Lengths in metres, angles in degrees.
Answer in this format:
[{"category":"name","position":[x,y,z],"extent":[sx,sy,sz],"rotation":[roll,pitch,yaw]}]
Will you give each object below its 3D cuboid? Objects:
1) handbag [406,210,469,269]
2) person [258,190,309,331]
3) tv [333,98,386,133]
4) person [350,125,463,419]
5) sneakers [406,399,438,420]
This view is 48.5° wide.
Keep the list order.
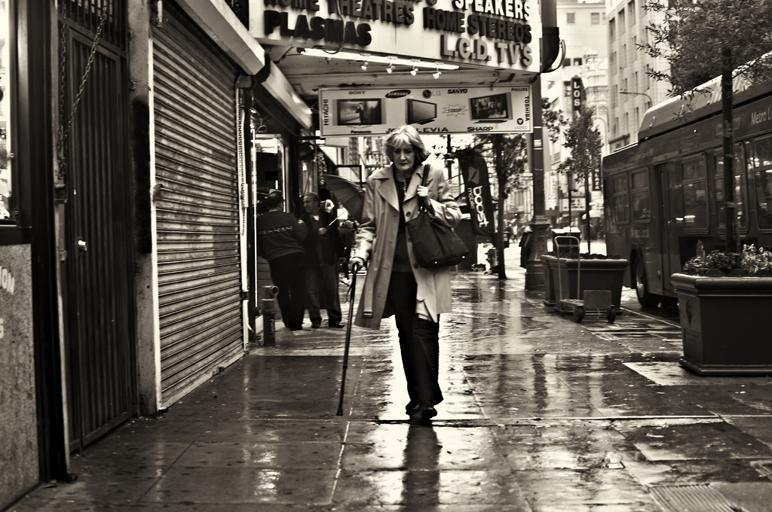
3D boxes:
[{"category":"handbag","position":[0.451,-0.204,7.817],"extent":[0.480,0.600,0.269],"rotation":[-9,-14,-31]},{"category":"person","position":[-1.658,0.224,13.815],"extent":[0.759,1.947,0.739],"rotation":[-1,1,-1]},{"category":"tv","position":[-0.636,-3.132,18.828],"extent":[0.821,0.549,0.186],"rotation":[-1,1,-8]},{"category":"person","position":[0.186,0.139,7.892],"extent":[0.986,2.704,0.462],"rotation":[-1,1,5]},{"category":"sneakers","position":[0.306,1.412,7.819],"extent":[0.332,0.165,0.258],"rotation":[0,1,17]}]
